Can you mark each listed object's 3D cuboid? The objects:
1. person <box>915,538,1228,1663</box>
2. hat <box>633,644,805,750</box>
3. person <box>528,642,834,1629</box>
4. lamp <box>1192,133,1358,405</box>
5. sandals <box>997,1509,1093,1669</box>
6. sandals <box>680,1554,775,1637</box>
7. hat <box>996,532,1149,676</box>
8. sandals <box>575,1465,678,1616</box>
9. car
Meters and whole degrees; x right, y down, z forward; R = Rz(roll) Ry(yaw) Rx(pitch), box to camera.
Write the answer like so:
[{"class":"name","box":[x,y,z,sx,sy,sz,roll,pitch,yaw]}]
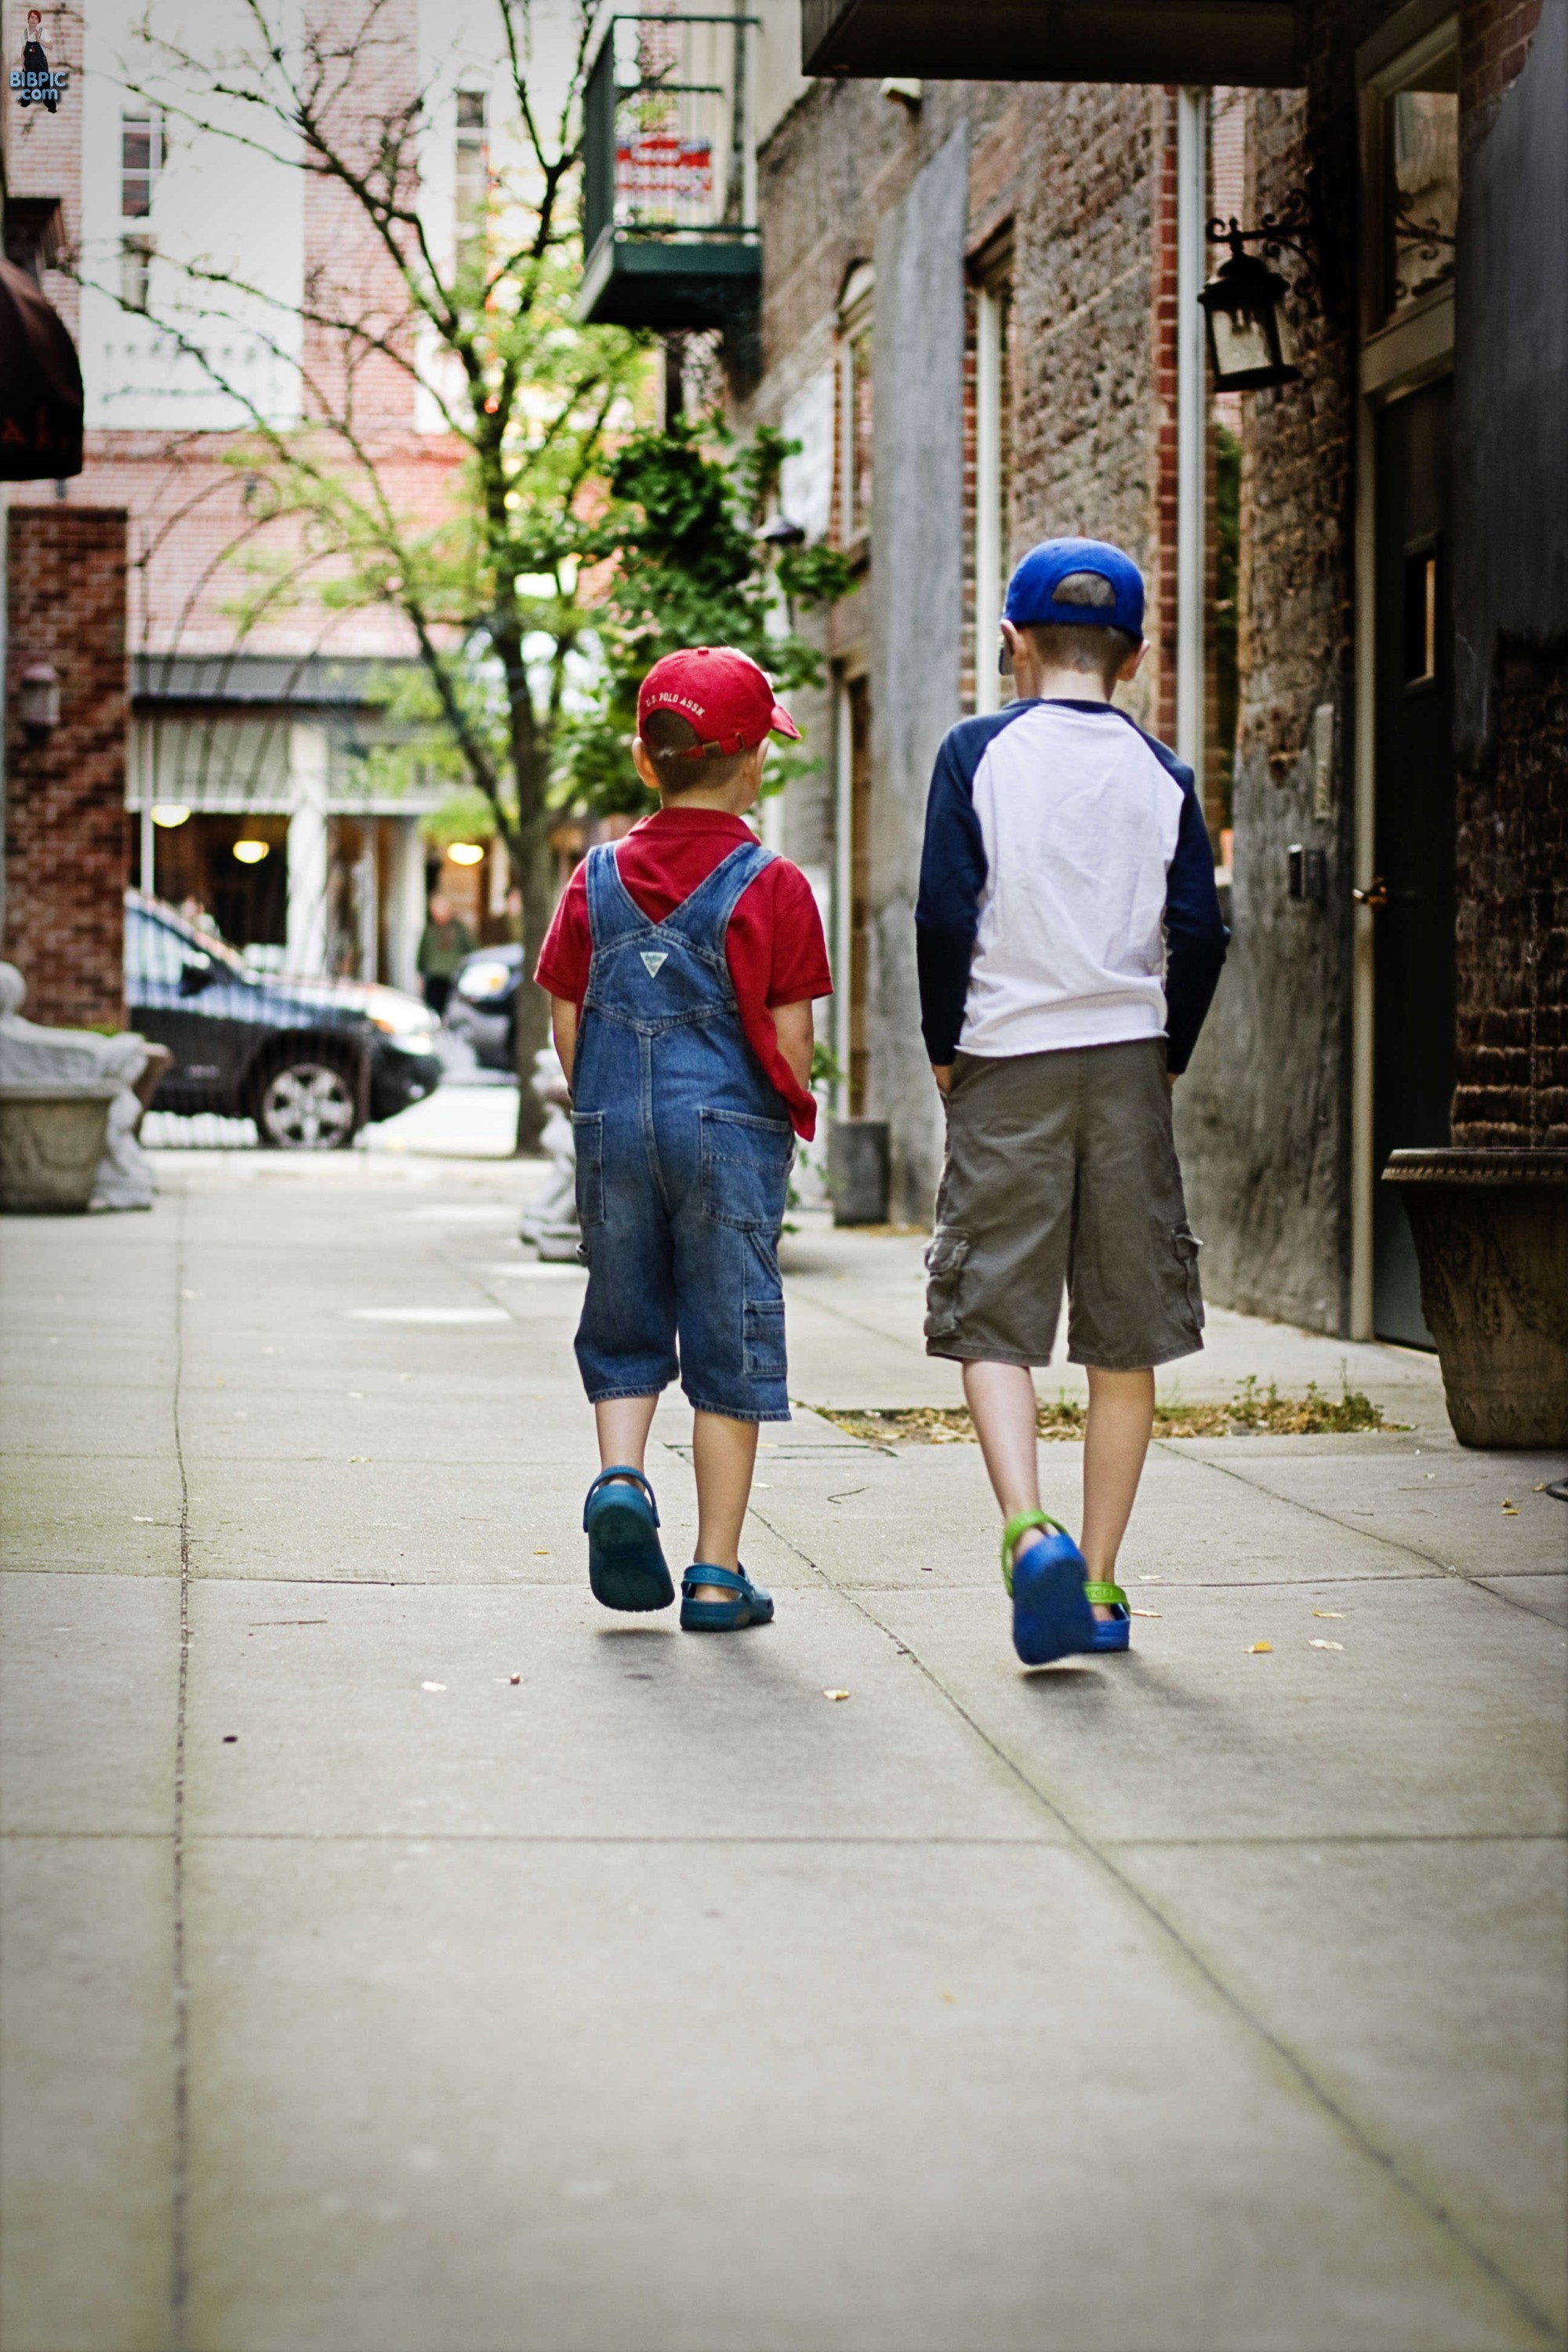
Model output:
[{"class":"person","box":[0.419,-0.112,4.559,0.464,1.575,0.600,-1,4,-16]},{"class":"hat","box":[-0.100,-0.683,4.755,0.141,0.126,0.198,11,10,29]},{"class":"person","box":[-0.149,-0.052,4.749,0.408,1.423,0.278,-1,3,-5]},{"class":"lamp","box":[1.305,-2.509,8.939,0.314,0.706,0.189,-7,2,-20]},{"class":"sandals","box":[0.347,0.546,4.334,0.078,0.222,0.088,-5,39,-9]},{"class":"sandals","box":[-0.088,0.617,4.778,0.063,0.079,0.172,1,1,11]},{"class":"hat","box":[0.418,-0.828,4.718,0.197,0.167,0.348,6,18,0]},{"class":"sandals","box":[-0.221,0.516,4.615,0.112,0.219,0.180,-1,4,-2]},{"class":"car","box":[-2.497,-0.712,16.753,1.300,1.425,6.039,-1,4,-6]}]
